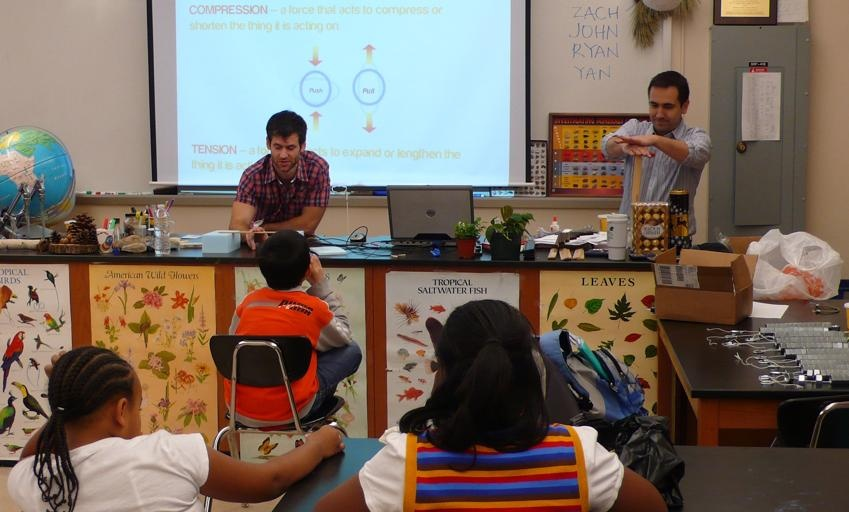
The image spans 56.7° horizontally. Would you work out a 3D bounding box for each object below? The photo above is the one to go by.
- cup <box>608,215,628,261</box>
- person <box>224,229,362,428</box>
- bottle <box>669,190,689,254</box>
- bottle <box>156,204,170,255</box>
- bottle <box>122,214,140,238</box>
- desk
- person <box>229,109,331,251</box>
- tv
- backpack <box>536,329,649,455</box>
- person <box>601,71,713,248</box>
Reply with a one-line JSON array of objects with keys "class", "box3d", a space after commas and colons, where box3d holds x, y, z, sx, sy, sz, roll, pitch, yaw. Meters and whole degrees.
[{"class": "cup", "box3d": [1.251, -0.125, 5.120, 0.126, 0.291, 0.176, 0, 7, 11]}, {"class": "person", "box3d": [-0.784, 0.406, 4.611, 0.705, 1.050, 0.718, 2, 7, 22]}, {"class": "bottle", "box3d": [1.627, -0.213, 5.030, 0.128, 0.402, 0.097, 1, 7, 14]}, {"class": "bottle", "box3d": [-1.769, -0.177, 5.302, 0.100, 0.323, 0.242, -4, 8, -20]}, {"class": "bottle", "box3d": [-2.016, -0.215, 5.405, 0.078, 0.163, 0.264, -6, 9, -35]}, {"class": "desk", "box3d": [1.650, 0.657, 4.195, 0.815, 0.620, 1.138, 0, 16, 5]}, {"class": "person", "box3d": [-1.142, -0.663, 6.280, 0.675, 1.218, 1.164, 0, 20, -8]}, {"class": "tv", "box3d": [0.018, -0.290, 5.382, 0.514, 0.387, 0.386, 1, 17, 6]}, {"class": "backpack", "box3d": [0.818, 0.668, 3.834, 0.289, 0.543, 0.413, -31, 6, 7]}, {"class": "person", "box3d": [1.690, -0.745, 5.799, 0.751, 1.213, 0.863, 1, 8, 18]}]
